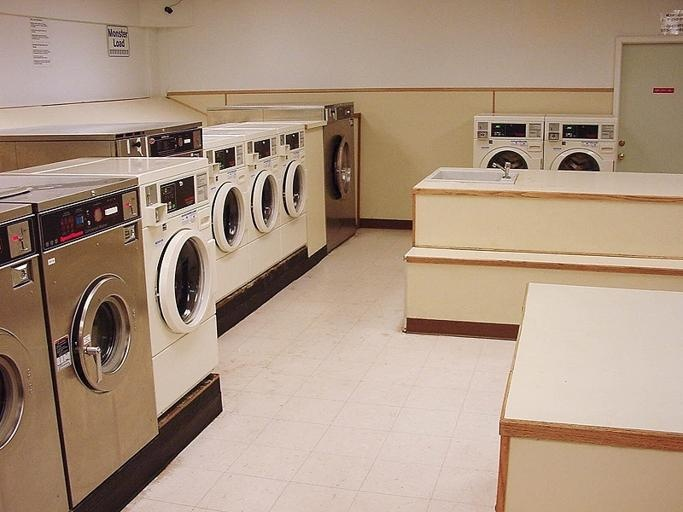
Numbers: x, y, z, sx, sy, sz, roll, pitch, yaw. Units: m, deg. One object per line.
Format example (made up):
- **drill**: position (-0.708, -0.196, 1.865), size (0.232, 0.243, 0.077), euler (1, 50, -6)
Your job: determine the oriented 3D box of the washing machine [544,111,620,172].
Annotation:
- **washing machine**: position (2.724, -1.291, 5.701), size (0.904, 0.881, 0.528), euler (2, 10, 13)
